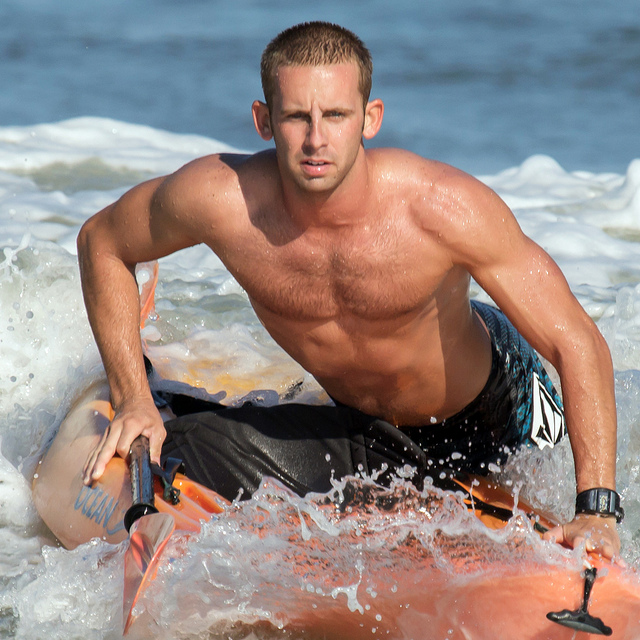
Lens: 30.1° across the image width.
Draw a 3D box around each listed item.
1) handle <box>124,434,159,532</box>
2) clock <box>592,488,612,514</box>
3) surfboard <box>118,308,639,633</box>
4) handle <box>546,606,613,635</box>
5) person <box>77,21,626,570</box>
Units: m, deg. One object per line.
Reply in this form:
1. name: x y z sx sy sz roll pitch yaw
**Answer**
1. handle: -0.520 0.484 3.442 0.100 0.119 0.368 -16 27 -1
2. clock: 0.784 0.504 3.307 0.049 0.060 0.057 -1 17 9
3. surfboard: 0.199 0.655 3.399 1.063 0.468 1.003 25 18 6
4. handle: 0.670 0.777 3.057 0.085 0.016 0.093 15 12 4
5. person: 0.099 -0.250 4.229 1.123 1.134 2.494 -4 19 -3
